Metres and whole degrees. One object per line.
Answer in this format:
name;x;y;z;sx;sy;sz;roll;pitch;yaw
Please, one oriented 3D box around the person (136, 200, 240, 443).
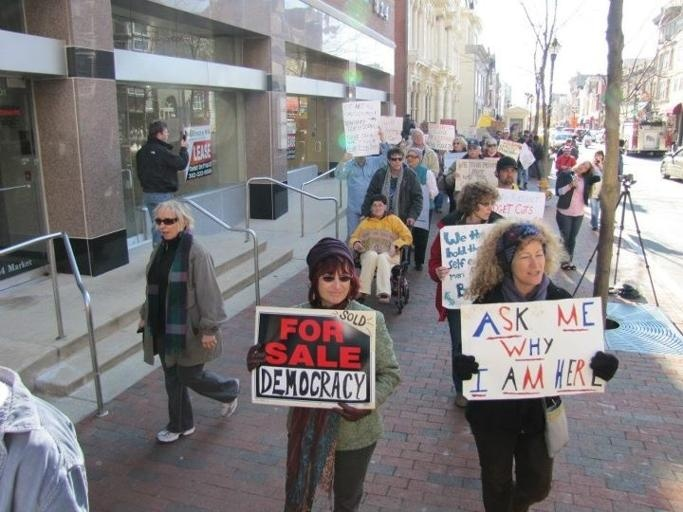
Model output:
person;-1.474;0.621;5.234;0.848;2.593;0.888;2;3;33
